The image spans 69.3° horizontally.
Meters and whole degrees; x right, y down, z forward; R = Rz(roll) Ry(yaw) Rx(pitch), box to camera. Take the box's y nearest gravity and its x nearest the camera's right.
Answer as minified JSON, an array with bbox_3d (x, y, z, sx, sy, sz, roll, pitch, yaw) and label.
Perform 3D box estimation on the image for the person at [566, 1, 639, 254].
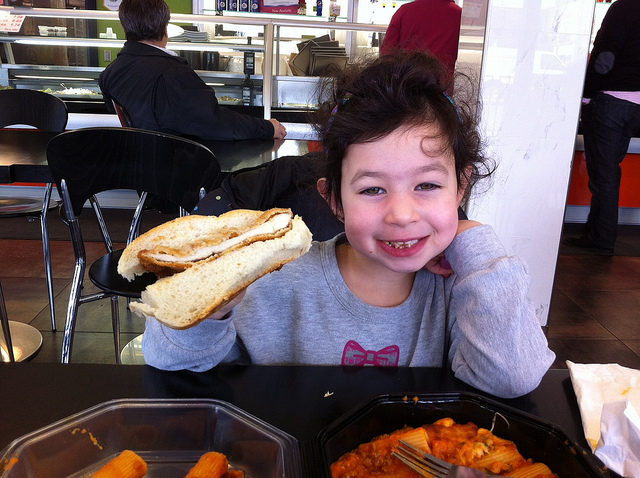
[{"bbox_3d":[2.253,-0.820,3.639,0.439,1.871,0.254,10,22,26],"label":"person"}]

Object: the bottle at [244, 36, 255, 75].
[{"bbox_3d":[-0.543,-1.357,3.570,0.083,0.166,0.072,-3,20,-9],"label":"bottle"}]

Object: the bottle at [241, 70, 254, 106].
[{"bbox_3d":[-0.563,-1.190,3.641,0.093,0.263,0.040,-4,20,-12],"label":"bottle"}]

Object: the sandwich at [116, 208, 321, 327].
[{"bbox_3d":[-0.177,0.072,0.833,0.302,0.090,0.188,-28,60,-30],"label":"sandwich"}]

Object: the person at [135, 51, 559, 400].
[{"bbox_3d":[0.076,-0.016,1.117,0.917,0.735,0.525,6,7,8],"label":"person"}]

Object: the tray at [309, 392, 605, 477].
[{"bbox_3d":[0.207,0.299,0.743,0.261,0.042,0.177,-1,14,1],"label":"tray"}]
